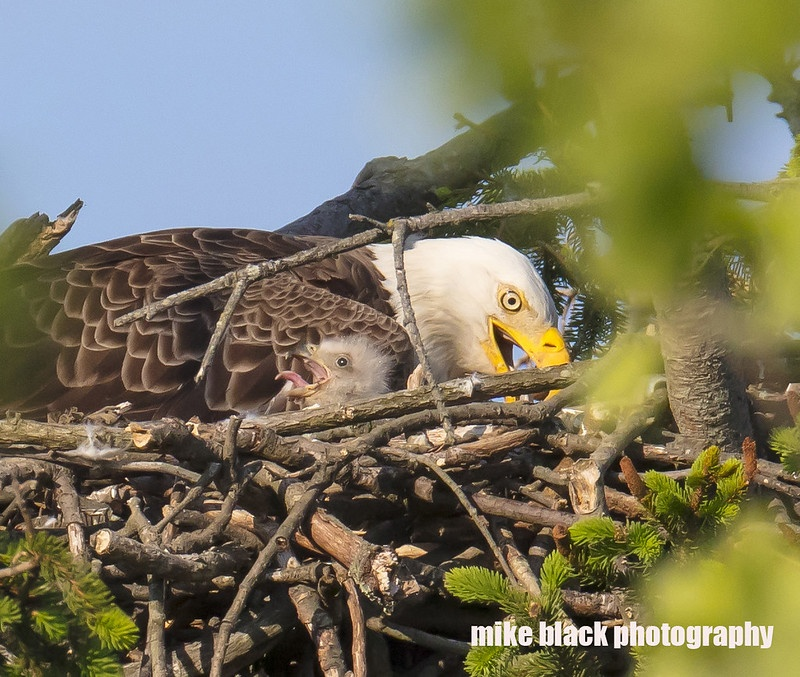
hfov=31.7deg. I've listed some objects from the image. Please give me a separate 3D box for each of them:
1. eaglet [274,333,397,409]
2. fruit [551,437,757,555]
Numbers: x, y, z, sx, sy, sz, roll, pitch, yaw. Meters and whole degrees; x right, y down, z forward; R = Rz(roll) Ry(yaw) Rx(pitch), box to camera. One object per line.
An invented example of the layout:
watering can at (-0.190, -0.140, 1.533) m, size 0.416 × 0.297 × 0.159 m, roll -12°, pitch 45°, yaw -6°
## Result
eaglet at (-0.216, 0.128, 5.114) m, size 0.482 × 0.233 × 0.155 m, roll -1°, pitch 8°, yaw -30°
fruit at (0.633, 0.392, 3.483) m, size 0.423 × 0.324 × 0.180 m, roll -7°, pitch 64°, yaw -8°
